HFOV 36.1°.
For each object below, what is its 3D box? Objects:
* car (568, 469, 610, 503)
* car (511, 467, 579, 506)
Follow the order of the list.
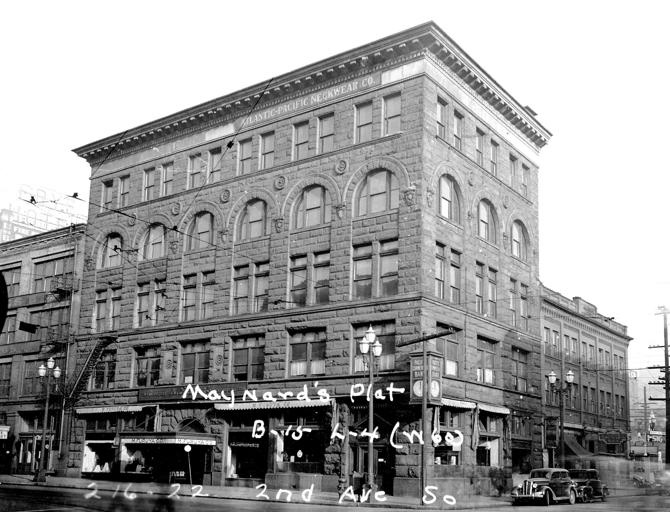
[{"bbox_3d":[15.225,14.112,62.639,1.905,2.069,4.160,-14,-16,40],"label":"car"},{"bbox_3d":[12.145,13.294,59.089,3.640,2.273,1.270,12,-25,-21],"label":"car"}]
